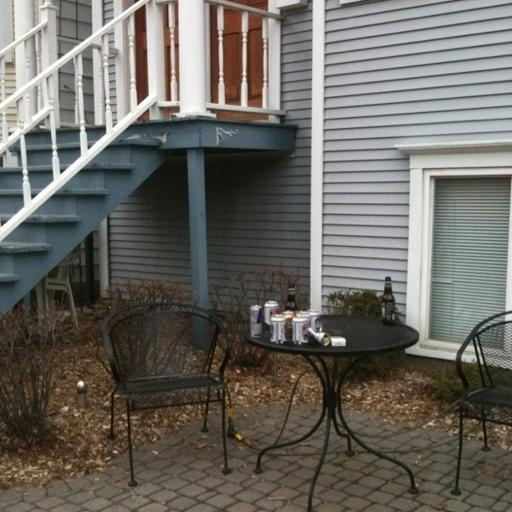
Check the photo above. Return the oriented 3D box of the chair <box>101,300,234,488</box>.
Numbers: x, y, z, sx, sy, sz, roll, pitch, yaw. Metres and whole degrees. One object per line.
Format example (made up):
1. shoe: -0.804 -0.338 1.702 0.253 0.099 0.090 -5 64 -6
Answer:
1. chair: -0.566 0.798 3.341 0.763 0.936 0.713 0 1 -21

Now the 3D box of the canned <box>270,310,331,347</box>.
1. canned: 0.226 0.360 2.805 0.222 0.096 0.172 5 8 36
